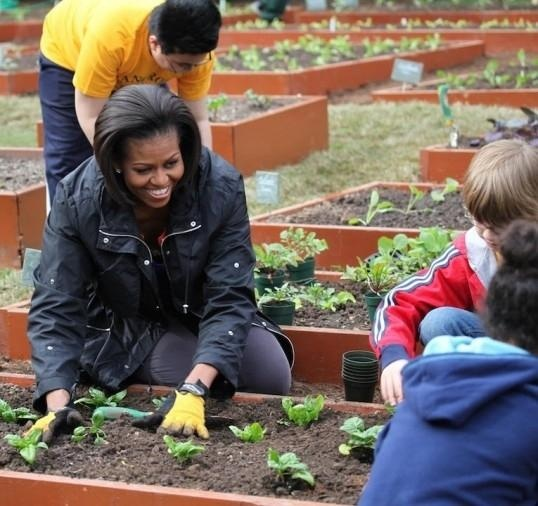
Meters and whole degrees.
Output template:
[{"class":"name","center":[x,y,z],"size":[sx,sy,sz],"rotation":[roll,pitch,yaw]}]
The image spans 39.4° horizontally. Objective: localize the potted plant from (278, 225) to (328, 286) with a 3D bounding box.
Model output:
[{"class":"potted plant","center":[0.185,-0.011,4.328],"size":[0.353,0.311,0.328],"rotation":[-1,20,-3]}]

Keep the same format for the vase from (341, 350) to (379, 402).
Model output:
[{"class":"vase","center":[0.348,0.514,3.223],"size":[0.221,0.220,0.203],"rotation":[0,13,1]}]

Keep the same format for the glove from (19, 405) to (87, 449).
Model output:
[{"class":"glove","center":[-0.780,0.620,2.692],"size":[0.169,0.045,0.117],"rotation":[-27,41,-14]}]

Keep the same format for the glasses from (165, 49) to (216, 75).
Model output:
[{"class":"glasses","center":[-0.367,-0.841,3.310],"size":[0.173,0.057,0.189],"rotation":[-1,4,-6]}]

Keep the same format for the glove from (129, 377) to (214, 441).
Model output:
[{"class":"glove","center":[-0.323,0.582,2.725],"size":[0.249,0.075,0.227],"rotation":[1,22,-9]}]

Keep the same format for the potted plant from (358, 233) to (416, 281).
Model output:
[{"class":"potted plant","center":[0.671,0.014,4.088],"size":[0.103,0.266,0.287],"rotation":[2,-29,-42]}]

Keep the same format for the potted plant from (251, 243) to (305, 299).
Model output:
[{"class":"potted plant","center":[0.037,0.078,4.157],"size":[0.329,0.216,0.287],"rotation":[1,15,2]}]

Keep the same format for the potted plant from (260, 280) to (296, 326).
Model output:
[{"class":"potted plant","center":[0.041,0.254,3.807],"size":[0.209,0.151,0.216],"rotation":[-1,10,1]}]

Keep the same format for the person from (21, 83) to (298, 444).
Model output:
[{"class":"person","center":[-0.485,-0.062,3.337],"size":[1.203,1.153,1.401],"rotation":[-4,12,-18]}]

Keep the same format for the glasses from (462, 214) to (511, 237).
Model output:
[{"class":"glasses","center":[0.733,-0.105,2.516],"size":[0.120,0.040,0.099],"rotation":[18,-10,-26]}]
